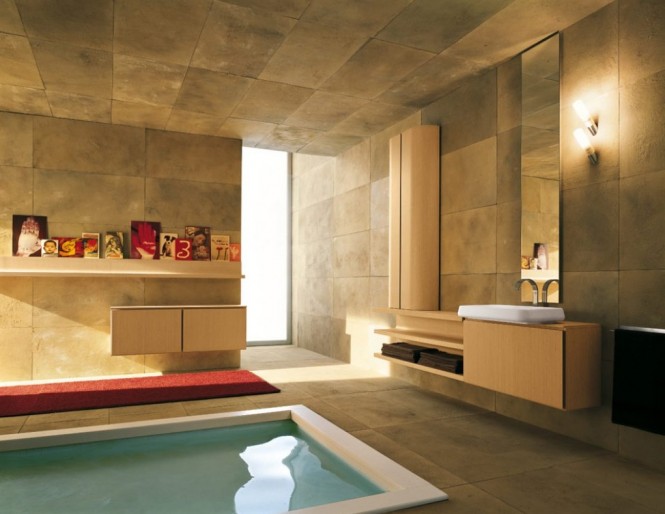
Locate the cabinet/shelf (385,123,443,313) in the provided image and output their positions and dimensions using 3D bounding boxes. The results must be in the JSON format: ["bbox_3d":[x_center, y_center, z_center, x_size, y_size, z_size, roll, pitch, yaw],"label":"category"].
[{"bbox_3d":[0.737,-0.360,4.810,0.199,1.648,0.536,1,0,-44],"label":"cabinet/shelf"}]

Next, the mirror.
[{"bbox_3d":[1.517,-0.624,3.743,0.133,1.838,0.374,1,0,-12],"label":"mirror"}]

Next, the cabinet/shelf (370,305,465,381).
[{"bbox_3d":[0.849,0.754,4.572,0.392,0.541,1.235,10,-6,-29],"label":"cabinet/shelf"}]

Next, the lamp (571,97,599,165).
[{"bbox_3d":[1.678,-0.838,3.461,0.077,0.393,0.189,1,0,-31],"label":"lamp"}]

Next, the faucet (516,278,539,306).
[{"bbox_3d":[1.426,0.249,3.761,0.150,0.182,0.187,1,0,22],"label":"faucet"}]
